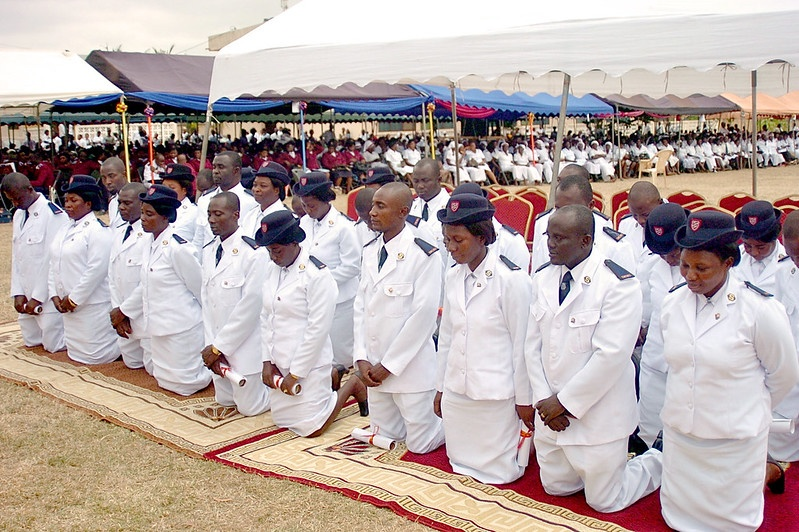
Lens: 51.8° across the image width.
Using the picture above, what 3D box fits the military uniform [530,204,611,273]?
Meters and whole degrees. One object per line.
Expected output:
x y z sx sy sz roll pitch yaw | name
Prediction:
1.546 -0.230 7.403 0.724 0.753 0.397 1 -7 30 | military uniform

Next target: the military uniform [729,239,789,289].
3.284 -0.014 7.514 0.257 0.436 0.456 1 -4 -41 | military uniform

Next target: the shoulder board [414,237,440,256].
0.249 -0.197 7.852 0.133 0.052 0.214 -30 50 -17 | shoulder board

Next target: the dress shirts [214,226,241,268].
-1.823 -0.195 8.792 0.262 0.331 0.205 1 -3 16 | dress shirts

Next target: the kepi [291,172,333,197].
-0.913 -0.950 9.097 0.287 0.141 0.337 -10 9 43 | kepi

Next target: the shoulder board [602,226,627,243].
2.074 -0.321 8.002 0.127 0.049 0.186 -31 42 -19 | shoulder board

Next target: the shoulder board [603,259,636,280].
1.851 0.034 6.989 0.140 0.053 0.235 -24 44 -15 | shoulder board

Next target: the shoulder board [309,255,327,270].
-0.809 -0.036 8.196 0.100 0.043 0.173 -29 60 -33 | shoulder board

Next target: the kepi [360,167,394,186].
-0.252 -1.045 9.535 0.372 0.193 0.261 -2 5 -4 | kepi

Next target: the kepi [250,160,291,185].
-1.400 -1.122 9.523 0.329 0.145 0.384 -11 -26 27 | kepi

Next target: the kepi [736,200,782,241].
3.356 -0.413 7.704 0.459 0.261 0.583 -7 4 41 | kepi

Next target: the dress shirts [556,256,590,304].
1.432 0.145 7.056 0.112 0.409 0.245 22 11 21 | dress shirts

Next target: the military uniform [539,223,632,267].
1.789 -0.165 7.984 0.782 0.753 0.440 -2 -4 42 | military uniform

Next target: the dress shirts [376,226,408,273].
-0.075 -0.099 7.949 0.171 0.325 0.248 4 -1 42 | dress shirts

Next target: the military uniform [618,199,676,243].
2.423 -0.435 8.050 0.303 0.458 0.597 -17 7 -36 | military uniform

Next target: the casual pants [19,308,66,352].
-4.501 0.808 10.460 0.550 0.711 0.395 2 5 20 | casual pants

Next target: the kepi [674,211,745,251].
2.478 -0.282 6.658 0.408 0.189 0.332 -3 -2 -26 | kepi

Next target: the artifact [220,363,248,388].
-1.691 1.107 8.416 0.115 0.110 0.399 -45 41 -18 | artifact

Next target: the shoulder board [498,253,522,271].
0.988 -0.015 7.441 0.116 0.039 0.196 -29 56 -33 | shoulder board

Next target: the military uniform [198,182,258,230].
-1.955 -0.680 9.511 0.756 0.593 0.394 1 1 16 | military uniform

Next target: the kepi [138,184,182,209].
-2.675 -0.782 9.123 0.335 0.119 0.307 12 5 7 | kepi
